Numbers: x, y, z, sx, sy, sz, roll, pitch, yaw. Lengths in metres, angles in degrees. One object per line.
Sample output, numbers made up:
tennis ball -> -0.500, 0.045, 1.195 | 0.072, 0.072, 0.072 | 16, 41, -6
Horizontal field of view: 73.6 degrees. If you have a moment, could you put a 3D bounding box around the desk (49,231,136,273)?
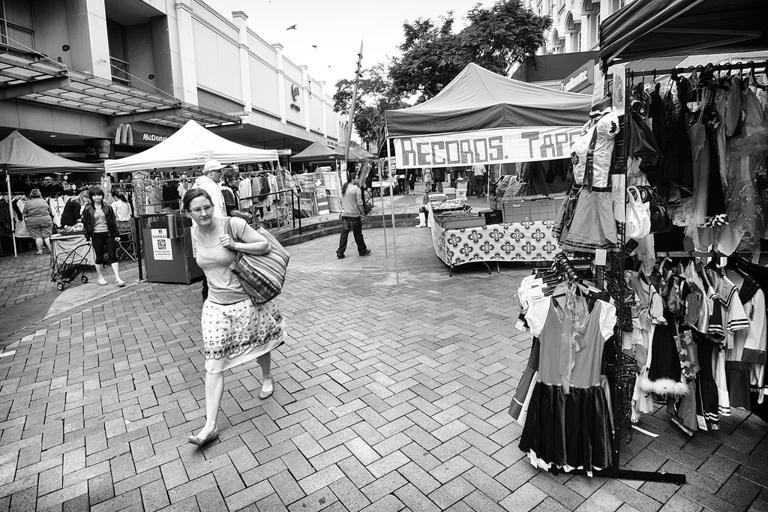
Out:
desk -> -6.999, -0.171, 11.709 | 1.268, 0.692, 0.698 | -4, 10, -40

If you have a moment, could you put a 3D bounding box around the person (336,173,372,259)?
person -> -0.789, -1.027, 12.752 | 0.810, 2.034, 0.896 | -4, 12, -2

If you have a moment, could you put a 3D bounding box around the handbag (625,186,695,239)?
handbag -> 2.515, -0.427, 4.660 | 0.428, 0.445, 0.220 | -3, 9, -12

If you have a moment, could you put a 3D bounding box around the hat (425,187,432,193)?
hat -> 1.968, -2.897, 22.177 | 0.262, 0.132, 0.369 | 1, 5, 40

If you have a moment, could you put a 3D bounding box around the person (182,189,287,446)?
person -> -1.615, 0.540, 5.419 | 1.111, 2.531, 0.584 | -11, 14, -32

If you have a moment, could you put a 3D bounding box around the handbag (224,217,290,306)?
handbag -> -1.230, 0.069, 5.479 | 0.270, 0.682, 0.787 | -28, 29, 41

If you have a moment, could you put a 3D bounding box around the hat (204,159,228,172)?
hat -> -2.850, -1.577, 8.848 | 0.330, 0.203, 0.465 | 9, 13, 39

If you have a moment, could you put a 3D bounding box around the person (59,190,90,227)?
person -> -8.252, -1.288, 13.734 | 0.550, 0.884, 0.557 | 20, 6, 14

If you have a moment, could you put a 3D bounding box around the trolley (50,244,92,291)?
trolley -> -6.592, 0.135, 11.065 | 0.930, 0.975, 0.614 | -6, 6, 17

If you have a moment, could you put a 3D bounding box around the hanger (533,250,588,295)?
hanger -> 1.681, 0.113, 4.867 | 0.333, 0.179, 0.476 | -9, 18, 19

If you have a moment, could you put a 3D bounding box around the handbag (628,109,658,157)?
handbag -> 2.292, -1.081, 4.520 | 0.275, 0.422, 0.201 | 0, 13, 17

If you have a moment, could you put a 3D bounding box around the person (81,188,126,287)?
person -> -5.948, -0.424, 10.783 | 0.605, 2.077, 1.096 | -10, 14, -30
